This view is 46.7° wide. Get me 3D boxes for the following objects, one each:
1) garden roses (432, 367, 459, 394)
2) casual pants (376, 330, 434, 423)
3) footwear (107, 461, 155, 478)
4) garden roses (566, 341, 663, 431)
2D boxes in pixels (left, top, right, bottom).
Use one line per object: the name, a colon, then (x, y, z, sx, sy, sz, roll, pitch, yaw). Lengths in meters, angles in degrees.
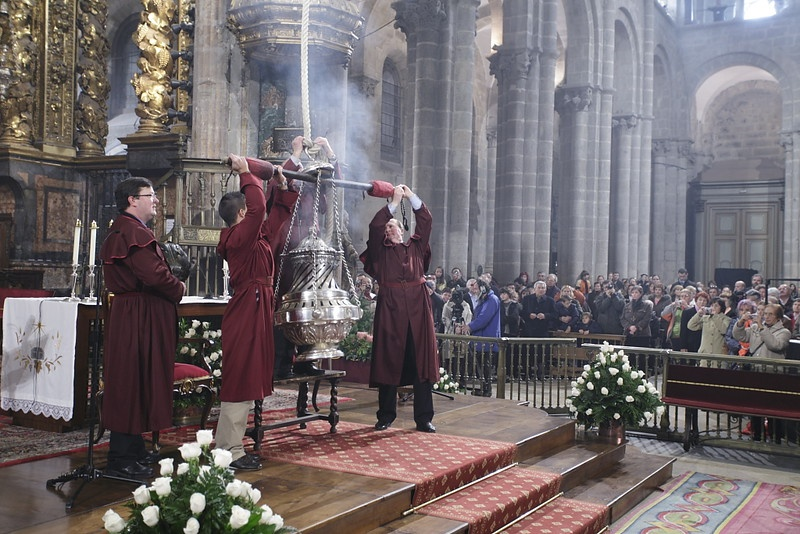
garden roses: (0.811, 1.948, 15.970, 0.513, 0.242, 0.516, 1, -5, -2)
casual pants: (0.099, 1.515, 13.758, 0.824, 1.985, 0.449, 3, -38, 0)
footwear: (-3.357, 2.540, 11.578, 0.606, 0.252, 0.214, 0, -4, -3)
garden roses: (3.480, 2.025, 15.371, 1.489, 1.445, 1.374, 2, -19, -2)
